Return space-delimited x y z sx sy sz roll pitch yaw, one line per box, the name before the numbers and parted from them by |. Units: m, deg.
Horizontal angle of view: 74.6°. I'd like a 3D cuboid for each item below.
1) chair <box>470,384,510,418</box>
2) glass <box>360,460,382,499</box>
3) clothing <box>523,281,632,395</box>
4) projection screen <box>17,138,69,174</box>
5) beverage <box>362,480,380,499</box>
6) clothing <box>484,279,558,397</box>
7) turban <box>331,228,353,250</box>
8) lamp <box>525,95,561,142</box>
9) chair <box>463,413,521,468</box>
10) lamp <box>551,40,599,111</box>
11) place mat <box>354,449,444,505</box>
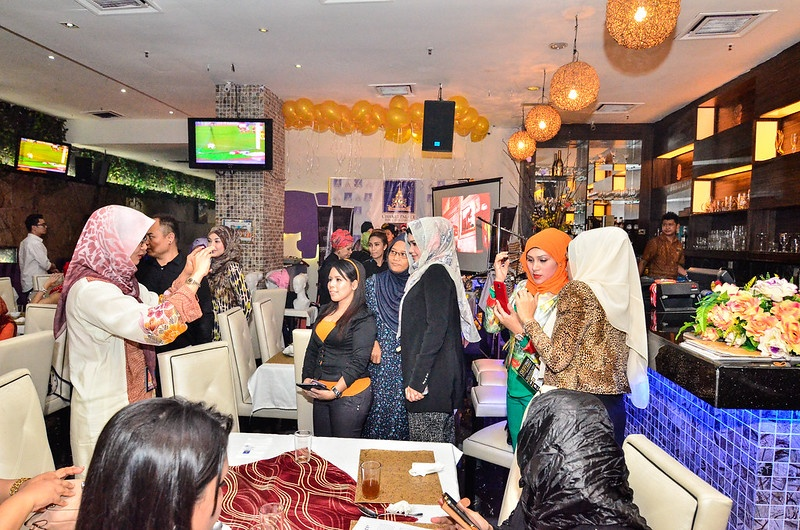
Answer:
chair | 0.711 1.077 4.152 0.274 0.125 0.293 0 12 1
glass | -0.152 1.094 2.654 0.108 0.154 0.103 1 -3 -7
clothing | 1.101 0.437 3.372 0.620 0.661 0.679 -1 -4 40
projection screen | -6.488 -1.971 9.574 0.220 0.587 0.924 3 3 23
beverage | -0.146 1.119 2.608 0.091 0.066 0.089 2 -6 -32
clothing | 0.804 0.487 3.455 0.509 0.690 0.246 9 -4 40
turban | -0.710 -0.257 6.511 0.246 0.143 0.282 -17 44 0
lamp | 1.942 -2.005 7.219 0.423 0.476 0.391 4 3 40
chair | 0.632 1.223 3.594 0.326 0.157 0.347 2 4 38
lamp | 1.970 -2.092 5.857 0.451 0.629 0.462 7 5 -24
place mat | 0.024 1.099 2.717 0.379 0.431 0.013 -5 28 4
